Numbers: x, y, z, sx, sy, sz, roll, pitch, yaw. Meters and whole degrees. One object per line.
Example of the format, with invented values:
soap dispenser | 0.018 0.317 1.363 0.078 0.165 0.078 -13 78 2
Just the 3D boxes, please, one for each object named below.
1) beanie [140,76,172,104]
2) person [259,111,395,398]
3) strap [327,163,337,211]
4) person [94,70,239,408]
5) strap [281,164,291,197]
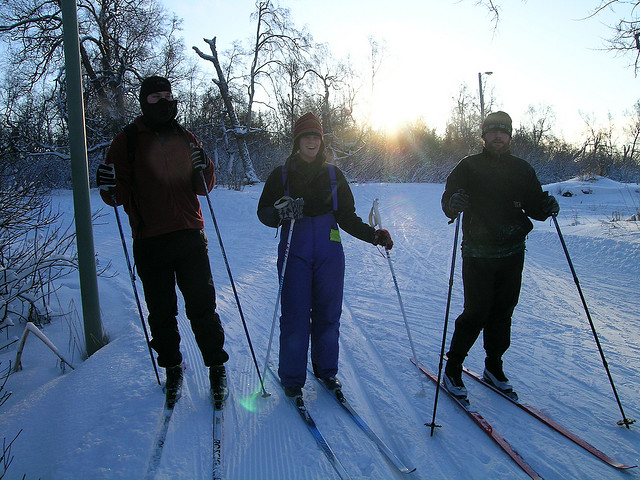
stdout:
beanie | -1.556 -1.437 4.495 0.237 0.212 0.238 -17 9 21
person | -0.058 0.101 4.785 1.080 2.726 0.977 -3 12 -9
strap | 0.127 -0.564 4.844 0.060 0.376 0.229 -3 -7 -7
person | -1.398 -0.013 4.514 1.101 3.035 0.828 4 12 21
strap | -0.357 -0.598 4.762 0.050 0.239 0.155 0 13 -15
